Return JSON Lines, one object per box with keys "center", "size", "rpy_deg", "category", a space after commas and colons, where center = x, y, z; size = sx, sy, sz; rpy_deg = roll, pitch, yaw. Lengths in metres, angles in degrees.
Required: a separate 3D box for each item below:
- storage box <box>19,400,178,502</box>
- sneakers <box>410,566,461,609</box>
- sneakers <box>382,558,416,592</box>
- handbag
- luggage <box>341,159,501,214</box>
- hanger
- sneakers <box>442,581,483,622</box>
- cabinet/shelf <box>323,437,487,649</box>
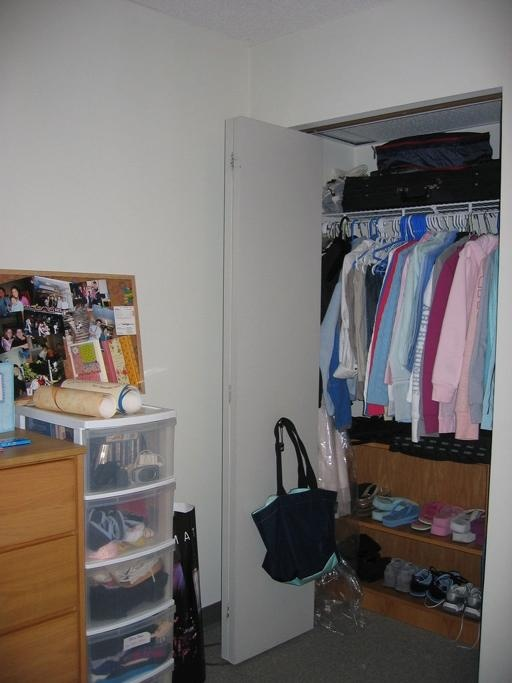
{"center": [-0.419, 0.270, 1.581], "size": [0.235, 0.203, 0.313], "rpy_deg": [-4, 6, -44], "category": "storage box"}
{"center": [0.823, 1.123, 2.599], "size": [0.105, 0.097, 0.218], "rpy_deg": [4, 4, 36], "category": "sneakers"}
{"center": [0.694, 1.127, 2.705], "size": [0.087, 0.061, 0.154], "rpy_deg": [0, 0, 27], "category": "sneakers"}
{"center": [0.171, 0.664, 2.261], "size": [0.233, 0.677, 0.402], "rpy_deg": [2, 9, 38], "category": "handbag"}
{"center": [0.713, -0.678, 2.508], "size": [0.730, 0.199, 0.076], "rpy_deg": [2, 9, 41], "category": "luggage"}
{"center": [0.731, -0.561, 2.705], "size": [0.921, 0.172, 0.283], "rpy_deg": [3, 10, 43], "category": "hanger"}
{"center": [0.922, 1.132, 2.510], "size": [0.160, 0.083, 0.221], "rpy_deg": [-1, 8, 24], "category": "sneakers"}
{"center": [0.743, 1.041, 2.806], "size": [0.740, 0.692, 0.247], "rpy_deg": [20, -26, -9], "category": "cabinet/shelf"}
